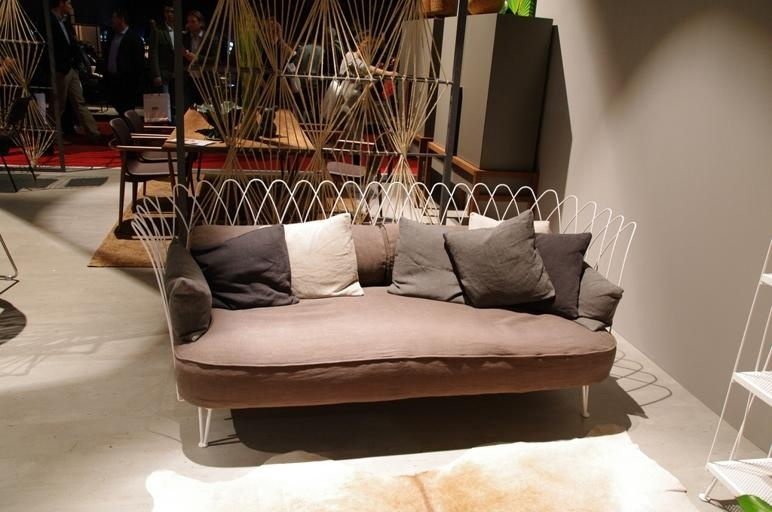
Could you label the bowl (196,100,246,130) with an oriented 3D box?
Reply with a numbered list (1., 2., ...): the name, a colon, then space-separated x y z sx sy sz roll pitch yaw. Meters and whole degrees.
1. bowl: -1.366 -1.152 4.389 0.389 0.180 0.412 3 9 -1
